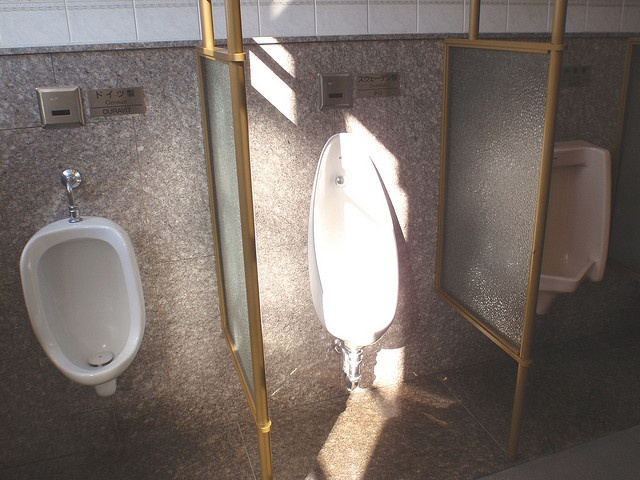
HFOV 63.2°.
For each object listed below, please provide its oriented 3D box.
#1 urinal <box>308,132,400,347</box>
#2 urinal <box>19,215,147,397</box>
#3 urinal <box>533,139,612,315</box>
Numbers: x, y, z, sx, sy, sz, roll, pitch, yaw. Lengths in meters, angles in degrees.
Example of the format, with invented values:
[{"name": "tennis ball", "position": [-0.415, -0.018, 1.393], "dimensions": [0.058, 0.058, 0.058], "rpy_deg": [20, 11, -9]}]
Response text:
[{"name": "urinal", "position": [0.142, 0.001, 2.214], "dimensions": [0.375, 0.865, 0.258], "rpy_deg": [1, 22, 8]}, {"name": "urinal", "position": [-0.887, 0.285, 2.005], "dimensions": [0.405, 0.687, 0.343], "rpy_deg": [-12, 24, -22]}, {"name": "urinal", "position": [1.180, -0.092, 2.438], "dimensions": [0.517, 0.736, 0.335], "rpy_deg": [-7, 21, -13]}]
